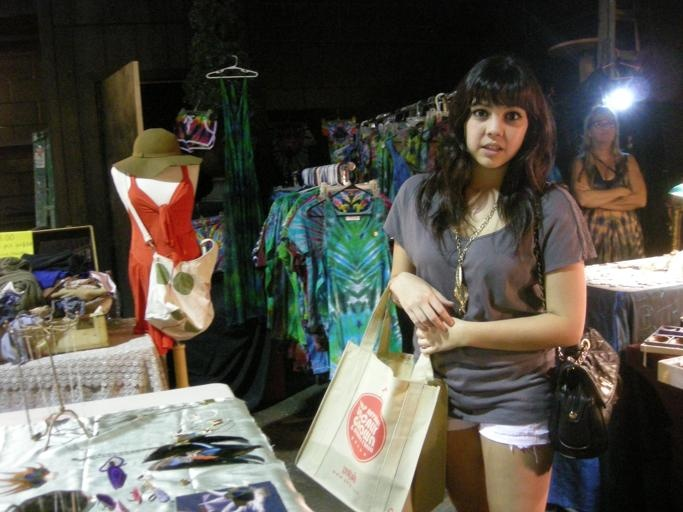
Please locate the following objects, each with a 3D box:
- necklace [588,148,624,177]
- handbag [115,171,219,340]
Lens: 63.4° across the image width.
[{"bbox_3d":[1.683,-0.588,3.520,0.146,0.175,0.089,-2,22,3],"label":"necklace"},{"bbox_3d":[-0.860,0.007,2.863,0.439,0.671,0.237,-6,3,-20],"label":"handbag"}]
